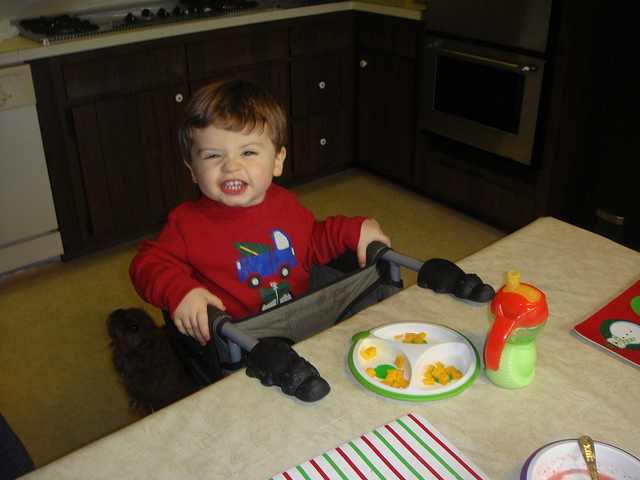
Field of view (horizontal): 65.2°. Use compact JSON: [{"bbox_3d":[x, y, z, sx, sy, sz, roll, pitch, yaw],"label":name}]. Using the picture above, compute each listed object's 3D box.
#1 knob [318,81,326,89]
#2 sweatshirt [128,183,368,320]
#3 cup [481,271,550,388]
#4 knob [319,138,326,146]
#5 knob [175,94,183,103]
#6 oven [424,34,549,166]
[{"bbox_3d":[0.009,-0.922,2.981,0.030,0.039,0.014,-2,10,-19],"label":"knob"},{"bbox_3d":[-0.225,0.034,1.355,0.441,0.335,0.256,-20,26,-30],"label":"sweatshirt"},{"bbox_3d":[0.320,0.151,0.823,0.093,0.186,0.101,-2,29,1],"label":"cup"},{"bbox_3d":[0.019,-0.613,3.117,0.031,0.036,0.012,0,9,-30],"label":"knob"},{"bbox_3d":[-0.704,-0.709,2.505,0.010,0.041,0.040,16,35,32],"label":"knob"},{"bbox_3d":[0.900,-0.803,2.605,0.707,0.556,0.507,26,48,36],"label":"oven"}]
